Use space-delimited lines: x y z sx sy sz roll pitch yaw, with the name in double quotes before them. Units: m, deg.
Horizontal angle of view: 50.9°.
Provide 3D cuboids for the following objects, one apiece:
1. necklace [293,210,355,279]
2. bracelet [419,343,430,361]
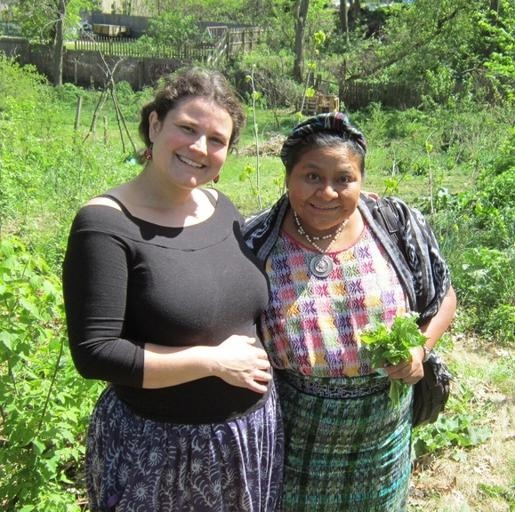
"necklace" 0.298 -0.074 2.341 0.239 0.395 0.028 6 -34 3
"bracelet" 0.730 0.417 2.362 0.059 0.075 0.067 5 6 13
